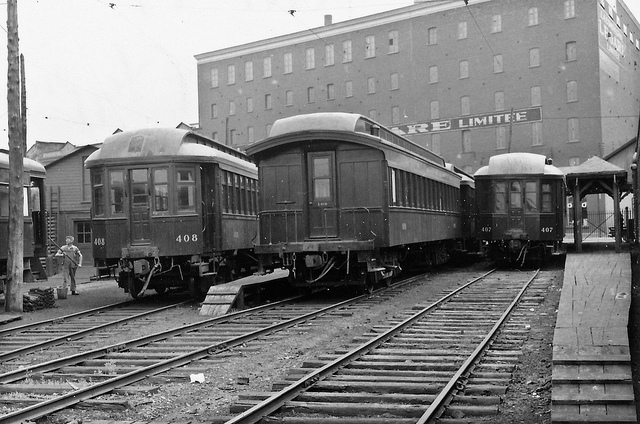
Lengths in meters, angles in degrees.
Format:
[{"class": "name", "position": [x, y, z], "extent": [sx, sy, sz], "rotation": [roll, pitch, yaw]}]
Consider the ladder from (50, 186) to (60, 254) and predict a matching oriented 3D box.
[{"class": "ladder", "position": [-14.194, 0.124, 38.401], "extent": [0.513, 3.070, 0.673], "rotation": [-3, -3, -17]}]

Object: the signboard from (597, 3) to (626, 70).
[{"class": "signboard", "position": [23.480, -13.851, 57.179], "extent": [0.215, 3.642, 9.974], "rotation": [-5, -3, 34]}]

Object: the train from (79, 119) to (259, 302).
[{"class": "train", "position": [-4.256, 0.056, 21.764], "extent": [5.022, 5.106, 2.367], "rotation": [-1, -3, -39]}]

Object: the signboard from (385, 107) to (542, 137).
[{"class": "signboard", "position": [11.808, -7.177, 57.792], "extent": [12.054, 1.391, 0.159], "rotation": [-4, -30, 22]}]
